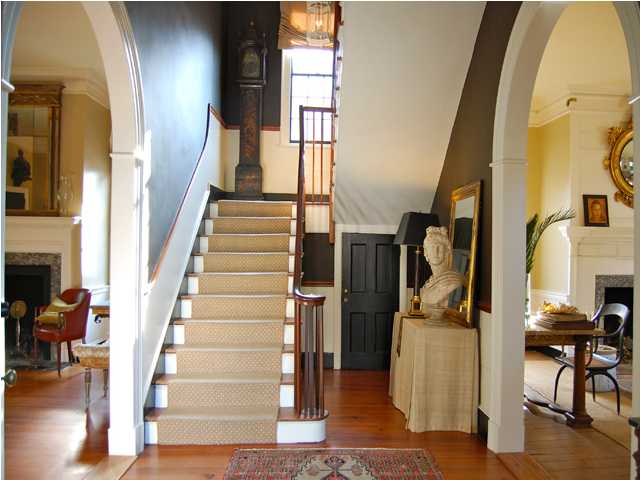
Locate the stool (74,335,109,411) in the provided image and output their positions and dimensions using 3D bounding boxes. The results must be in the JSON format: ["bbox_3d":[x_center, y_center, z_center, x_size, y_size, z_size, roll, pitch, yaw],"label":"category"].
[{"bbox_3d":[-2.627,1.564,5.958,0.407,0.539,0.759,1,1,-6],"label":"stool"}]

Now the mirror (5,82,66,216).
[{"bbox_3d":[-3.996,-1.272,7.203,0.766,1.829,0.408,0,8,1],"label":"mirror"}]

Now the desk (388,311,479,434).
[{"bbox_3d":[1.237,1.377,5.644,0.786,1.067,0.933,0,8,-2],"label":"desk"}]

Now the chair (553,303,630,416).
[{"bbox_3d":[3.229,1.405,6.169,0.736,1.240,0.874,-1,-1,15],"label":"chair"}]

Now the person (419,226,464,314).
[{"bbox_3d":[1.347,0.381,5.672,0.434,1.047,0.582,2,8,12],"label":"person"}]

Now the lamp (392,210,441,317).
[{"bbox_3d":[1.195,0.328,6.484,0.622,1.270,0.659,1,-4,5],"label":"lamp"}]

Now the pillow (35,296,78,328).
[{"bbox_3d":[-3.446,0.958,6.796,0.537,0.292,0.406,7,10,38],"label":"pillow"}]

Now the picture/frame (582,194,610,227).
[{"bbox_3d":[4.007,-0.421,7.539,0.441,0.604,0.048,1,-5,-6],"label":"picture/frame"}]
